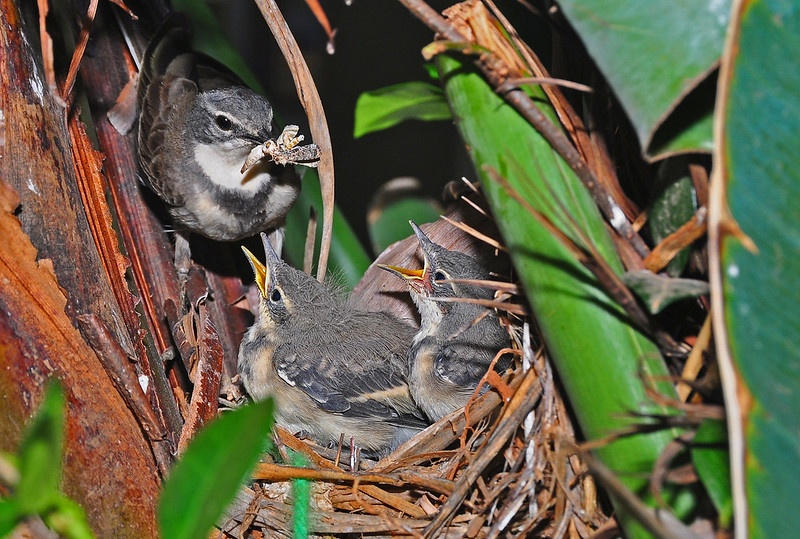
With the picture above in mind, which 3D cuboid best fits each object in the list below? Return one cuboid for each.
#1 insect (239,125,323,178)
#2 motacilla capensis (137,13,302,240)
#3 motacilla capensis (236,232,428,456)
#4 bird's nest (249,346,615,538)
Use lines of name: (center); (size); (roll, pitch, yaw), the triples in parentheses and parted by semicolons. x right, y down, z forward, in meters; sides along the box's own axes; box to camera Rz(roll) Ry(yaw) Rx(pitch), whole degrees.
insect: (-0.230, -0.206, 1.566); (0.138, 0.061, 0.089); (15, 29, -45)
motacilla capensis: (-0.398, -0.284, 1.882); (0.302, 0.430, 0.550); (-3, 43, -25)
motacilla capensis: (-0.081, 0.163, 1.740); (0.483, 0.350, 0.334); (11, 14, -5)
bird's nest: (0.064, 0.279, 1.250); (0.347, 0.290, 0.113); (-12, 46, 10)
